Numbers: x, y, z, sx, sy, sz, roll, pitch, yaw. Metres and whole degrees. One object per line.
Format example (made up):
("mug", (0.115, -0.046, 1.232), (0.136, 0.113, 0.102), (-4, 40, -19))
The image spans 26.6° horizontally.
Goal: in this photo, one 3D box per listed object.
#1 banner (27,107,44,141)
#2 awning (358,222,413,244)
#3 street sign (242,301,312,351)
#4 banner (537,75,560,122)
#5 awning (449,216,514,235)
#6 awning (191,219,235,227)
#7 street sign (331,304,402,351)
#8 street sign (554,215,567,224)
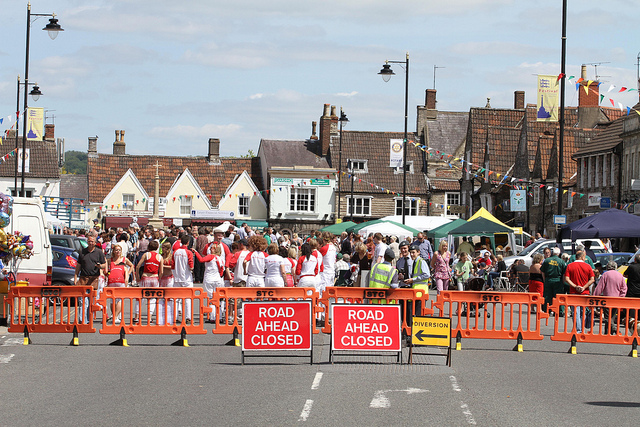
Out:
("banner", (-17.908, -5.696, 85.059), (0.927, 1.839, 2.603), (0, 2, -12))
("awning", (2.614, 0.686, 55.368), (0.874, 0.648, 2.660), (-2, 3, -38))
("street sign", (-1.107, 2.871, 34.863), (1.785, 1.256, 0.313), (0, 2, -2))
("banner", (12.298, -6.219, 73.256), (1.099, 2.202, 3.642), (0, 2, 8))
("awning", (6.143, 0.475, 52.113), (2.227, 0.641, 0.804), (1, 2, 9))
("awning", (-7.209, 0.600, 89.060), (2.621, 0.438, 2.612), (-1, 3, -17))
("street sign", (1.195, 2.923, 34.917), (2.165, 1.245, 0.031), (4, -8, -32))
("street sign", (8.751, 0.208, 49.623), (0.558, 0.293, 0.387), (-1, 3, -10))
